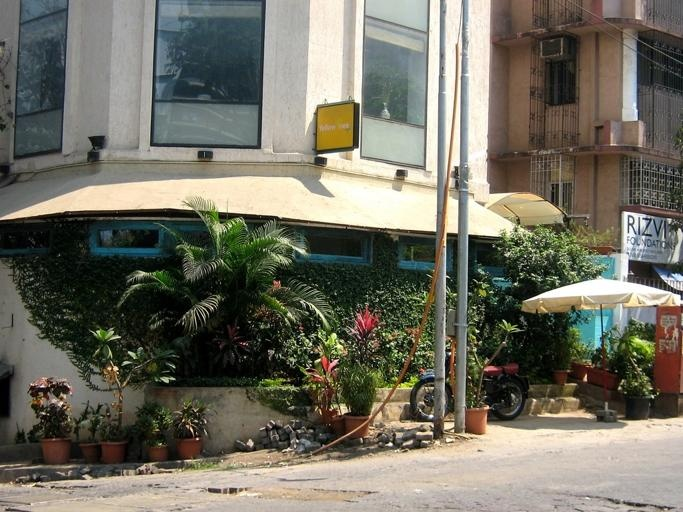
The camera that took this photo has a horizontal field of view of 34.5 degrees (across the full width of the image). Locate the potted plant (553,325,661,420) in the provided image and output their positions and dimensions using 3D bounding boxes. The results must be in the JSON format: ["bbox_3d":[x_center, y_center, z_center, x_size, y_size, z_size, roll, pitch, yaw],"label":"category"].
[{"bbox_3d":[6.699,2.713,26.035,1.788,1.583,2.102,1,1,-28],"label":"potted plant"}]

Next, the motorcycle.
[{"bbox_3d":[2.806,2.862,24.594,2.230,1.469,1.456,1,-6,-15],"label":"motorcycle"}]

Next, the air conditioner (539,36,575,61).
[{"bbox_3d":[7.218,-6.906,36.518,1.158,0.713,0.749,-1,-8,45],"label":"air conditioner"}]

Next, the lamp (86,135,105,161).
[{"bbox_3d":[-5.876,-2.587,26.419,0.531,0.671,0.538,2,2,39],"label":"lamp"}]

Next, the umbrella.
[{"bbox_3d":[5.930,2.197,25.430,3.025,2.750,3.154,-2,-9,7],"label":"umbrella"}]

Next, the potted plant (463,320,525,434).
[{"bbox_3d":[3.428,2.610,24.315,1.264,2.368,3.988,-2,-4,13],"label":"potted plant"}]

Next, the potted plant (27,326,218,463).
[{"bbox_3d":[-4.993,2.888,23.784,3.041,2.676,1.930,-1,-4,-4],"label":"potted plant"}]
